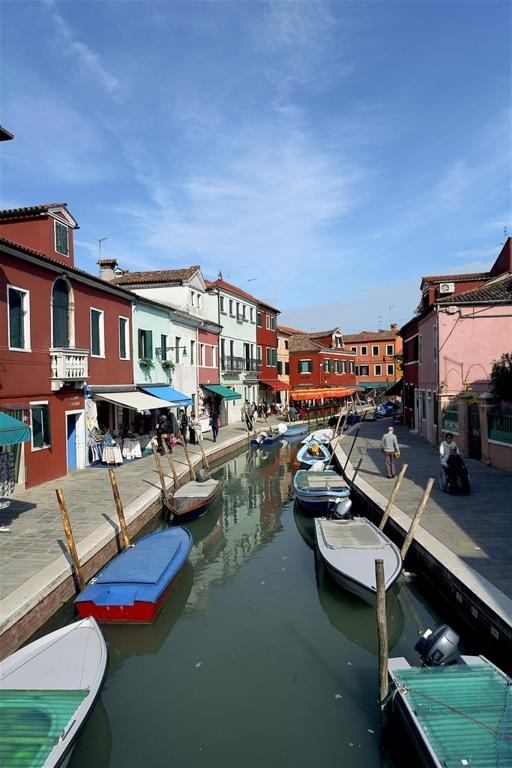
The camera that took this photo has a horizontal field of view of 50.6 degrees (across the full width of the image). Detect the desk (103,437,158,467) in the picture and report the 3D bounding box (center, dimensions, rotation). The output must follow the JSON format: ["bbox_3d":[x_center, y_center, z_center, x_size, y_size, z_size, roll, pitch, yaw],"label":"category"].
[{"bbox_3d":[-4.810,2.509,20.517,0.983,1.114,3.588,-5,-8,20],"label":"desk"}]

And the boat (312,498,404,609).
[{"bbox_3d":[1.871,3.440,10.518,1.464,1.092,3.890,1,4,0],"label":"boat"}]

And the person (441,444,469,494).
[{"bbox_3d":[4.930,2.222,13.396,0.535,0.763,1.182,-1,-3,1],"label":"person"}]

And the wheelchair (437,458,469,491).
[{"bbox_3d":[4.934,2.366,13.427,0.451,0.637,0.986,1,2,8],"label":"wheelchair"}]
